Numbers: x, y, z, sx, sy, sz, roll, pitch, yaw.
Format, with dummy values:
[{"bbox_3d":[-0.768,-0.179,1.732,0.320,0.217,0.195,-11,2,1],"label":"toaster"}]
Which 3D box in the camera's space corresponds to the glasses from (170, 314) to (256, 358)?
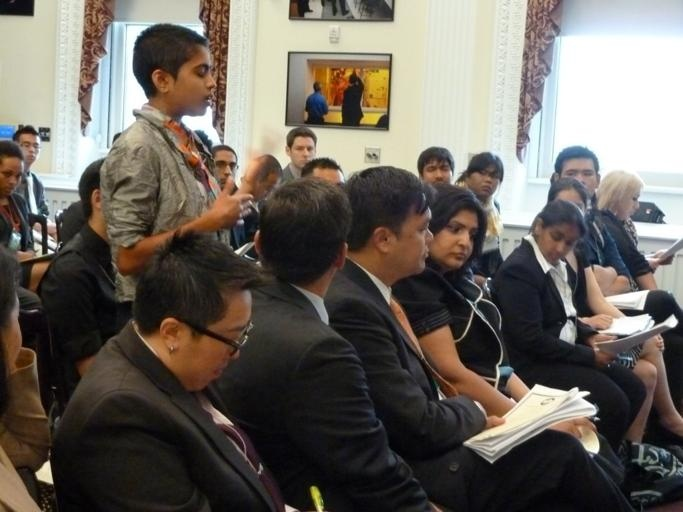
[{"bbox_3d":[-0.301,0.181,1.351,0.110,0.031,0.107,35,-9,-12],"label":"glasses"}]
